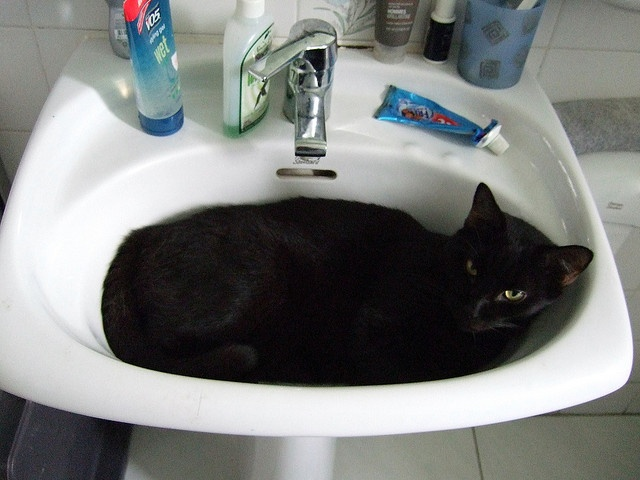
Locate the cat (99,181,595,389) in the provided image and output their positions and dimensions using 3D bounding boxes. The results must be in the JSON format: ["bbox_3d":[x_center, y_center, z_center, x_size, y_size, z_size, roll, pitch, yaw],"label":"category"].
[{"bbox_3d":[0.019,0.029,0.780,0.660,0.192,0.302,2,61,-4],"label":"cat"}]

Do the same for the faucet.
[{"bbox_3d":[-0.017,-0.203,0.811,0.066,0.186,0.244,-3,50,-4],"label":"faucet"}]

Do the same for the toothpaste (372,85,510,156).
[{"bbox_3d":[0.202,-0.209,0.900,0.214,0.091,0.084,21,30,-9],"label":"toothpaste"}]
